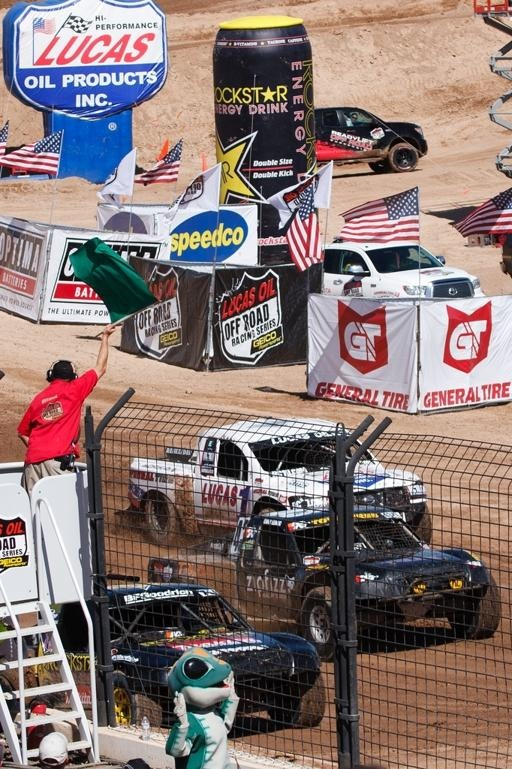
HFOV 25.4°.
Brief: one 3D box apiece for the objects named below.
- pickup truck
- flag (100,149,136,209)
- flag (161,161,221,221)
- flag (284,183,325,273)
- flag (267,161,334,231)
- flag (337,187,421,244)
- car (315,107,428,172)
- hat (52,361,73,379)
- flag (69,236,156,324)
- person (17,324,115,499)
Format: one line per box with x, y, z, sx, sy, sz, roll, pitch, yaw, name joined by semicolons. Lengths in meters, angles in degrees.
0.014;1.430;8.783;1.990;1.806;3.587;-5;5;-32;pickup truck
-2.893;-4.469;24.667;0.658;1.212;1.328;-17;22;-40;flag
-1.119;-3.686;21.921;0.560;1.196;1.928;-10;18;-23;flag
0.762;-2.500;18.210;0.496;1.229;1.062;-2;16;3;flag
0.808;-3.055;19.119;1.191;1.240;0.492;-27;55;-9;flag
1.912;-2.572;17.406;1.195;0.970;1.053;3;17;17;flag
3.364;-7.829;35.601;4.716;2.193;2.249;-4;9;-14;car
-1.344;-0.098;7.966;0.123;0.121;0.048;0;-4;-7;hat
-0.875;-0.702;7.675;0.207;0.488;0.688;8;41;-56;flag
-1.392;0.301;7.986;0.531;1.513;0.433;7;24;-10;person
